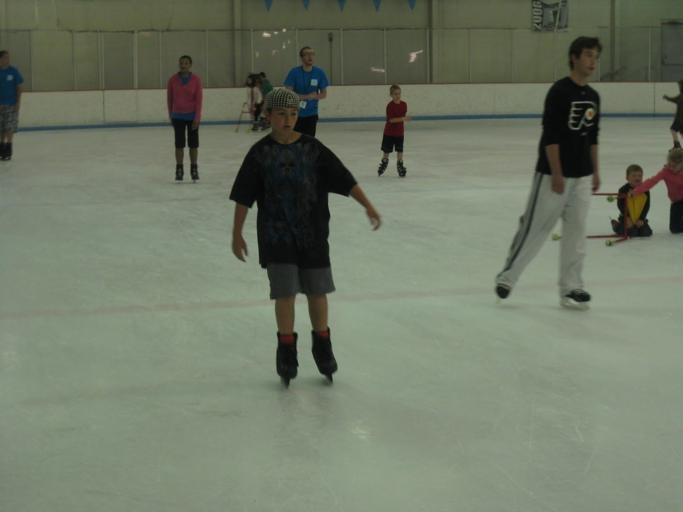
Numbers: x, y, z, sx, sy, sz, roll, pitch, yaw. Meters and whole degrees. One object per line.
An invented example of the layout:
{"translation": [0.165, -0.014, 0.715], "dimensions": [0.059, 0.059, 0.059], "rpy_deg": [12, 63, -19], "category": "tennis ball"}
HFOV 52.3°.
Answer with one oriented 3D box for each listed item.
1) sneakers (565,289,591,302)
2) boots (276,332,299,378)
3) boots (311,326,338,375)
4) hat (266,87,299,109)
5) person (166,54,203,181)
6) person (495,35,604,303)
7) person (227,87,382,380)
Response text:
{"translation": [1.578, 0.256, 4.589], "dimensions": [0.080, 0.043, 0.128], "rpy_deg": [-9, 12, -40], "category": "sneakers"}
{"translation": [-0.264, 0.501, 3.454], "dimensions": [0.081, 0.173, 0.248], "rpy_deg": [-1, 53, -2], "category": "boots"}
{"translation": [-0.086, 0.483, 3.477], "dimensions": [0.090, 0.190, 0.275], "rpy_deg": [-8, 35, -11], "category": "boots"}
{"translation": [-0.287, -0.766, 3.360], "dimensions": [0.153, 0.098, 0.179], "rpy_deg": [-2, 15, -7], "category": "hat"}
{"translation": [-2.152, -1.897, 9.727], "dimensions": [0.491, 1.737, 0.520], "rpy_deg": [0, 14, 3], "category": "person"}
{"translation": [1.411, -0.556, 4.642], "dimensions": [0.617, 1.740, 0.428], "rpy_deg": [5, 15, 20], "category": "person"}
{"translation": [-0.198, -0.092, 3.462], "dimensions": [0.661, 1.454, 0.482], "rpy_deg": [-6, 15, -22], "category": "person"}
